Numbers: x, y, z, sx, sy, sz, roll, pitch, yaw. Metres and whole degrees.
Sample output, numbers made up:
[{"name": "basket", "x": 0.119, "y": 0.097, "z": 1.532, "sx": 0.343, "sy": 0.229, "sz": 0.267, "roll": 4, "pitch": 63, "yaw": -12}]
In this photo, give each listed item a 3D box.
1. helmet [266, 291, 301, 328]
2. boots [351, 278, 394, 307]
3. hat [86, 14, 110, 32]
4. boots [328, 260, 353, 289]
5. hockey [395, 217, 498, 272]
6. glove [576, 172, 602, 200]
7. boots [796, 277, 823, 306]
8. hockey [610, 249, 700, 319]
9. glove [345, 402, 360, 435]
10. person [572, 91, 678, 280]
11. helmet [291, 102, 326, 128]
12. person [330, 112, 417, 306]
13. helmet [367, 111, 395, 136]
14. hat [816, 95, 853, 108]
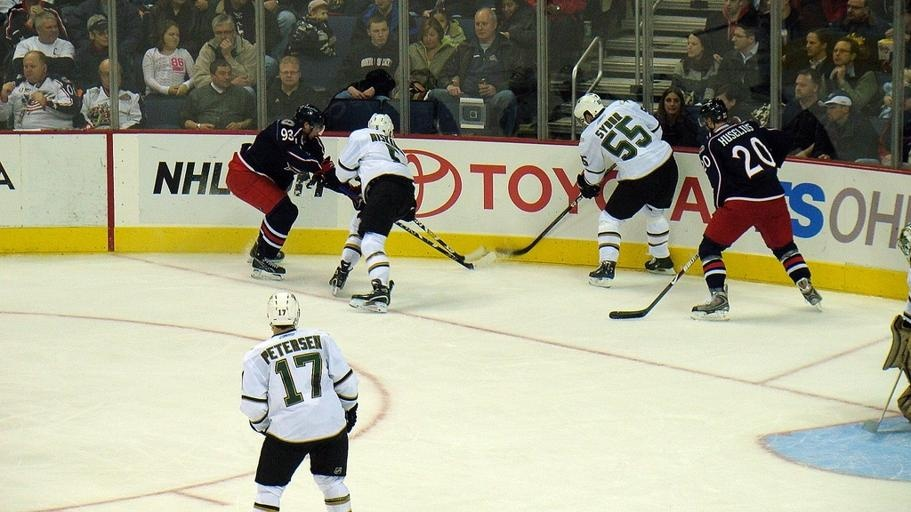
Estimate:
[{"name": "helmet", "x": -1.112, "y": 0.363, "z": 6.782, "sx": 0.225, "sy": 0.246, "sz": 0.280, "roll": 0, "pitch": -4, "yaw": -10}, {"name": "boots", "x": -0.785, "y": 0.357, "z": 9.878, "sx": 0.379, "sy": 0.288, "sz": 0.231, "roll": 2, "pitch": 7, "yaw": -6}, {"name": "hat", "x": -3.978, "y": -2.579, "z": 11.631, "sx": 0.182, "sy": 0.130, "sz": 0.236, "roll": -8, "pitch": 16, "yaw": -30}, {"name": "boots", "x": -1.158, "y": 0.188, "z": 10.324, "sx": 0.140, "sy": 0.388, "sz": 0.172, "roll": 27, "pitch": 1, "yaw": 6}, {"name": "hockey", "x": -0.085, "y": -0.087, "z": 11.251, "sx": 0.969, "sy": 0.323, "sz": 0.534, "roll": 27, "pitch": 7, "yaw": -8}, {"name": "glove", "x": 1.406, "y": -0.717, "z": 10.956, "sx": 0.195, "sy": 0.170, "sz": 0.295, "roll": -2, "pitch": 18, "yaw": -17}, {"name": "boots", "x": 3.332, "y": 0.328, "z": 9.783, "sx": 0.310, "sy": 0.184, "sz": 0.131, "roll": 49, "pitch": 1, "yaw": 0}, {"name": "hockey", "x": 2.025, "y": 0.302, "z": 10.426, "sx": 0.141, "sy": 0.876, "sz": 0.123, "roll": 44, "pitch": 18, "yaw": -25}, {"name": "glove", "x": -0.672, "y": 1.055, "z": 6.826, "sx": 0.148, "sy": 0.157, "sz": 0.179, "roll": 4, "pitch": 8, "yaw": -5}, {"name": "person", "x": 1.756, "y": -0.667, "z": 10.761, "sx": 1.134, "sy": 1.921, "sz": 0.657, "roll": 4, "pitch": 7, "yaw": 7}, {"name": "helmet", "x": -1.466, "y": -1.386, "z": 10.476, "sx": 0.320, "sy": 0.192, "sz": 0.174, "roll": 3, "pitch": 7, "yaw": 6}, {"name": "person", "x": -0.757, "y": -0.431, "z": 10.089, "sx": 0.727, "sy": 1.846, "sz": 0.855, "roll": 1, "pitch": 7, "yaw": -18}, {"name": "helmet", "x": -0.696, "y": -1.302, "z": 10.364, "sx": 0.228, "sy": 0.253, "sz": 0.271, "roll": 5, "pitch": 12, "yaw": 10}, {"name": "hat", "x": 3.718, "y": -1.496, "z": 10.168, "sx": 0.192, "sy": 0.078, "sz": 0.128, "roll": 10, "pitch": 0, "yaw": 7}]
